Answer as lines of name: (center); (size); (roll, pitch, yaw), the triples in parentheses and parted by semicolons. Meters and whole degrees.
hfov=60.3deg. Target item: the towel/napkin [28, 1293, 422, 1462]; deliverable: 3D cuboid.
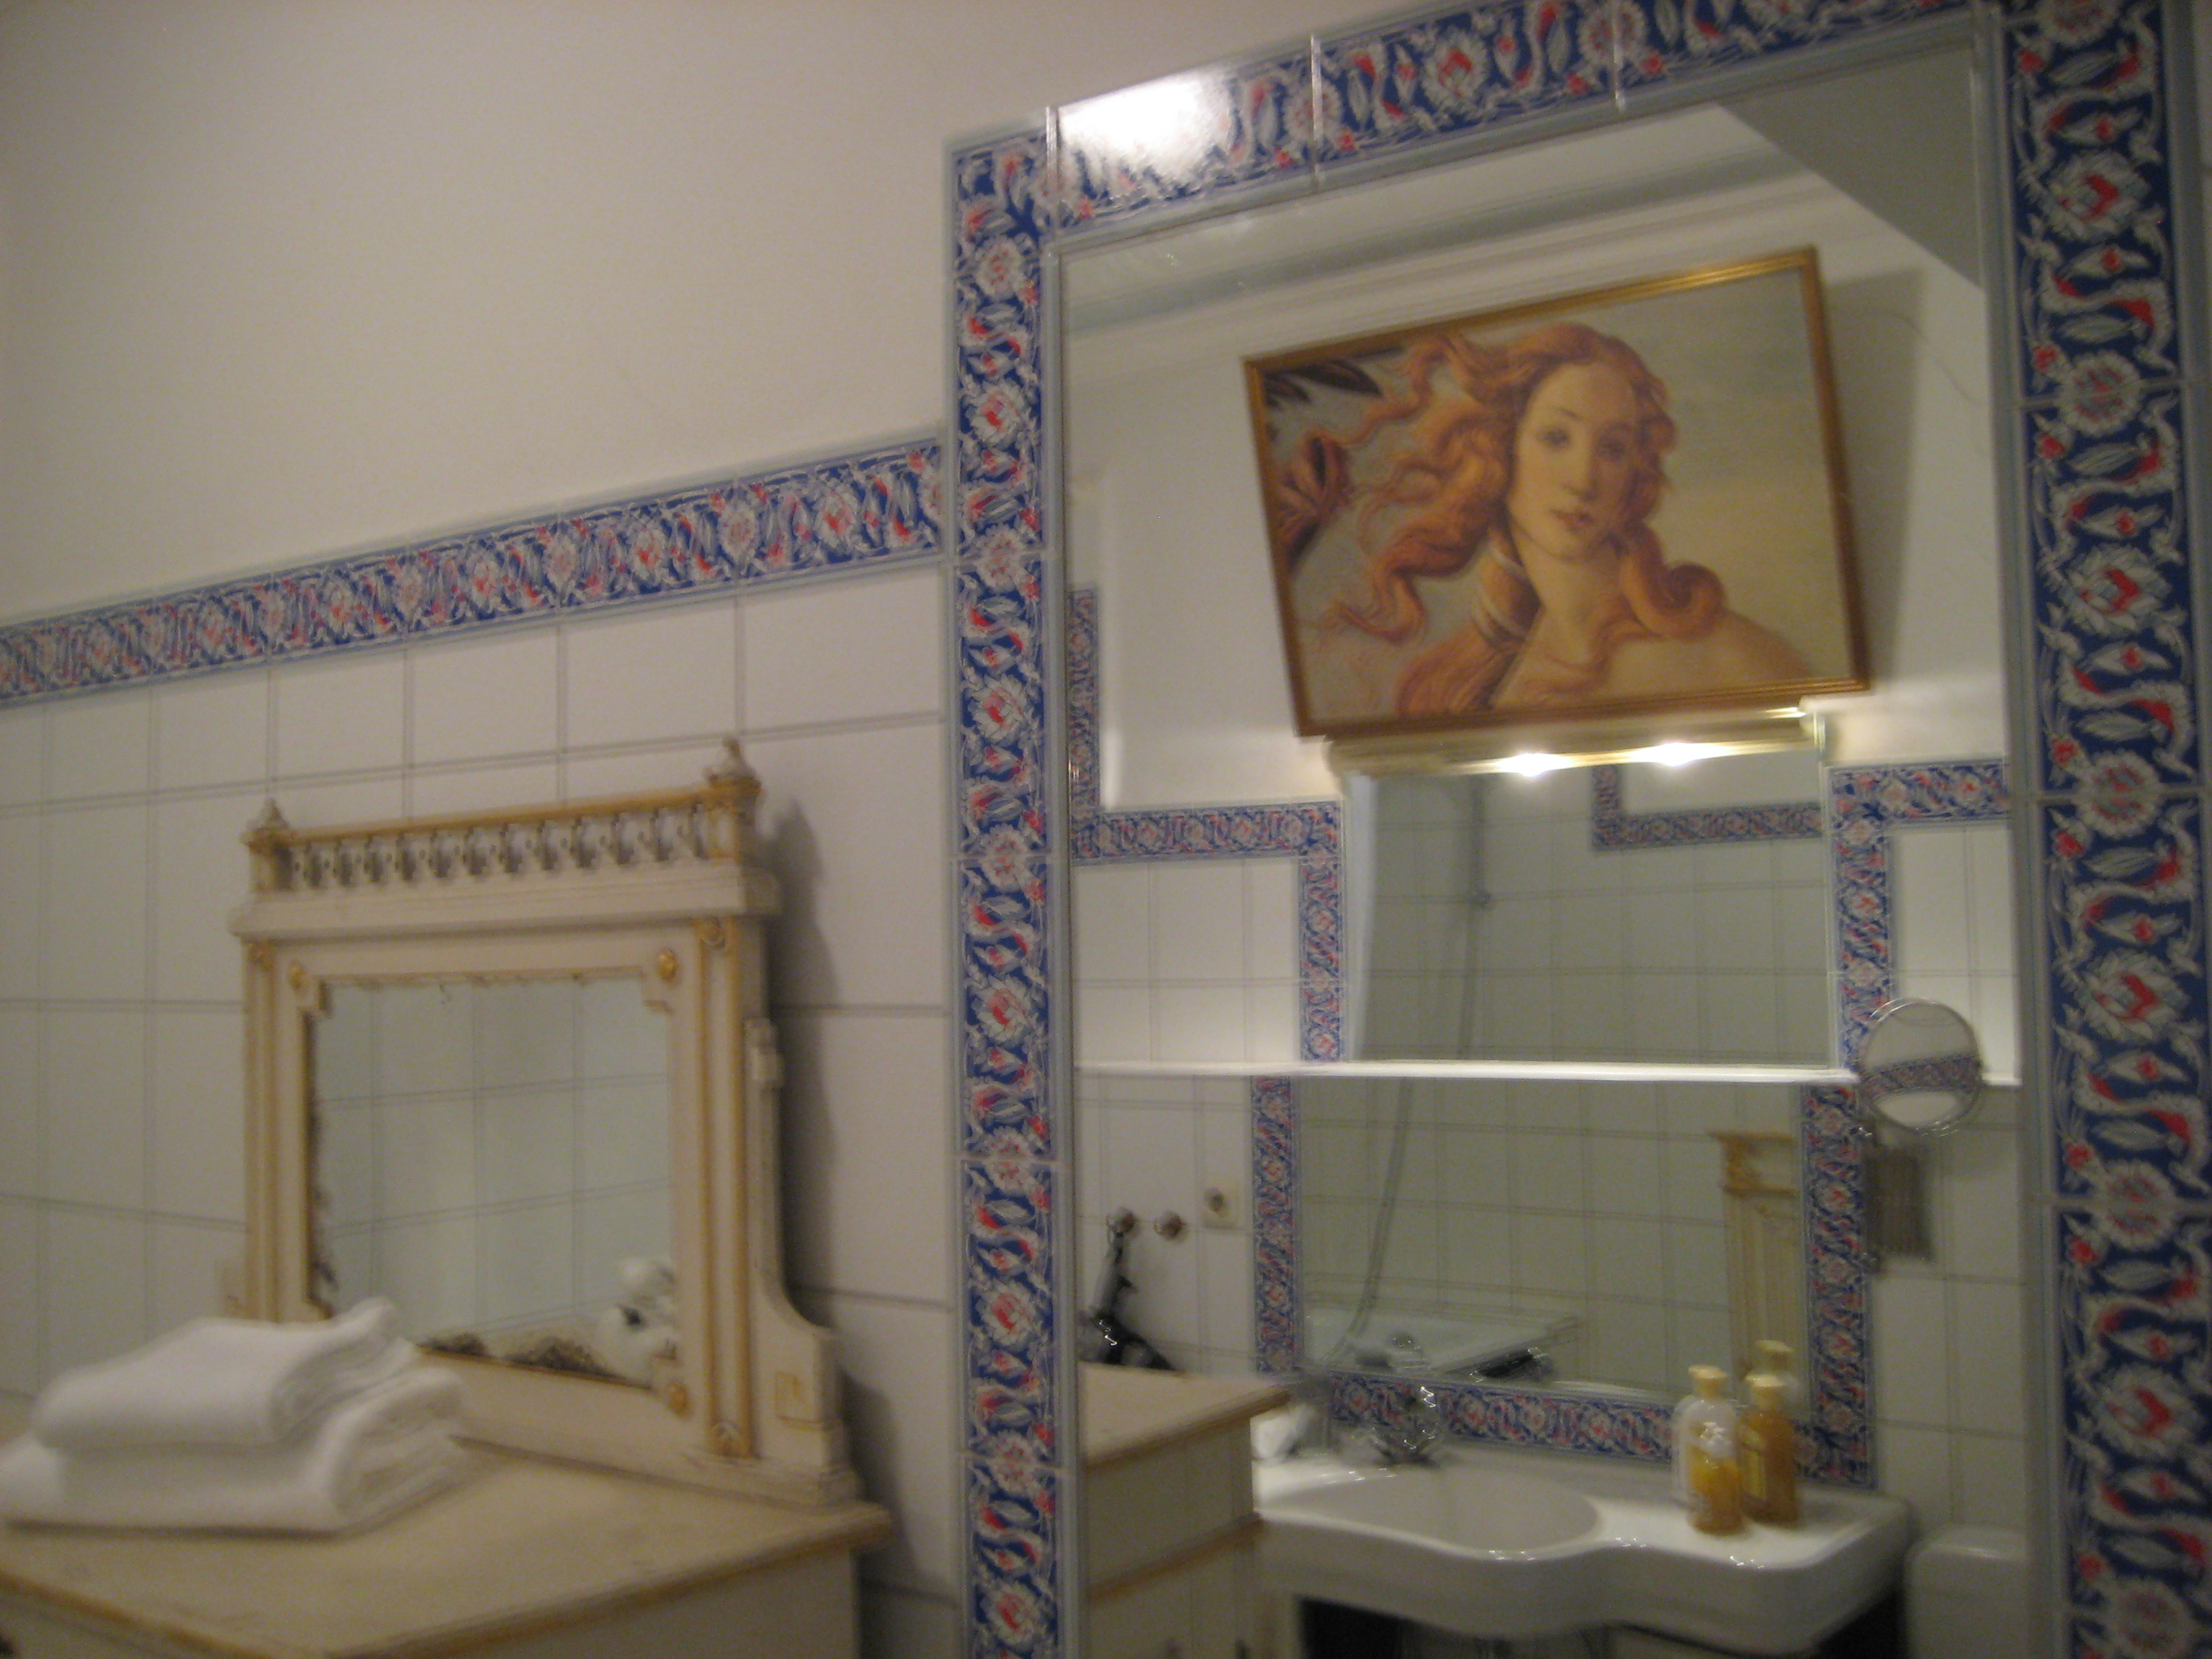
towel/napkin: (-0.853, 0.541, 1.868); (0.217, 0.066, 0.215); (-5, -10, 6)

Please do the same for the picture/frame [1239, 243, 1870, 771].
picture/frame: (0.381, -0.257, 1.529); (0.429, 0.311, 0.018); (-5, 4, 27)

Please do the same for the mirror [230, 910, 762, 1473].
mirror: (-0.639, 0.345, 1.953); (0.601, 0.524, 0.054); (-2, -1, 18)
